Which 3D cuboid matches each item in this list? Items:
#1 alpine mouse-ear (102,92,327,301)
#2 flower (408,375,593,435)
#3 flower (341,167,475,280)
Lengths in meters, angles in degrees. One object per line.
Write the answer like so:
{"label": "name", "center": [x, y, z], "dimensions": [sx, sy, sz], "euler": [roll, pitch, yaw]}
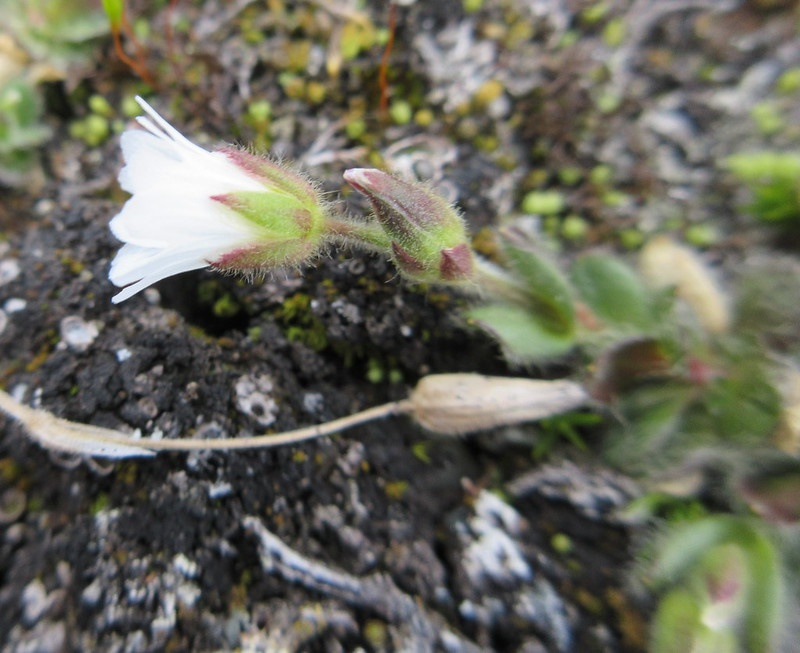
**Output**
{"label": "alpine mouse-ear", "center": [-0.278, -0.182, 1.030], "dimensions": [0.328, 0.175, 0.274], "euler": [0, 73, -6]}
{"label": "flower", "center": [0.142, 0.132, 1.088], "dimensions": [0.314, 0.083, 0.096], "euler": [-1, 69, 2]}
{"label": "flower", "center": [0.035, -0.175, 1.086], "dimensions": [0.221, 0.135, 0.076], "euler": [38, 49, -16]}
